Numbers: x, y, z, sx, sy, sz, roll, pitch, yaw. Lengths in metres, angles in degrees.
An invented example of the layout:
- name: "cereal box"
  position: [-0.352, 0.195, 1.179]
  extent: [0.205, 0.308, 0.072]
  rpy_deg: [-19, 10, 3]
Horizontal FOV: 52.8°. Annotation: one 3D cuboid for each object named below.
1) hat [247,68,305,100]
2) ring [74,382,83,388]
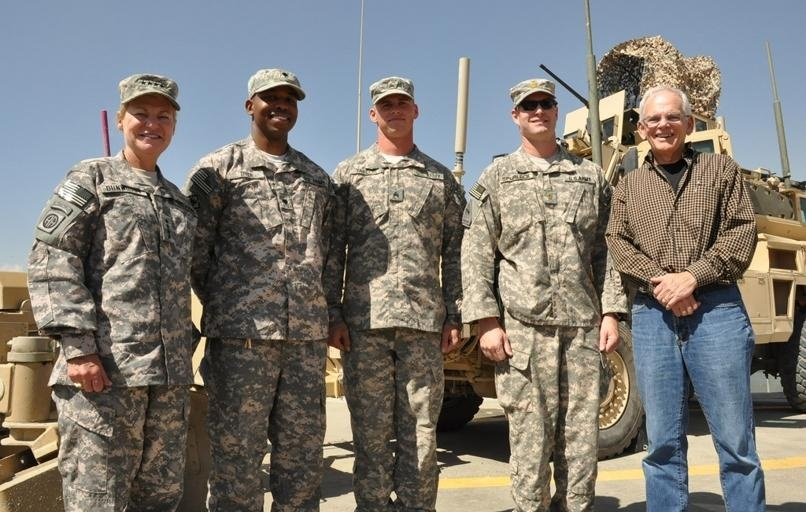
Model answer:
- name: "hat"
  position: [-0.832, -1.098, 5.372]
  extent: [0.362, 0.156, 0.464]
  rpy_deg: [-1, -4, -22]
- name: "ring"
  position: [-1.867, 0.748, 4.681]
  extent: [0.032, 0.022, 0.030]
  rpy_deg: [2, -10, 0]
